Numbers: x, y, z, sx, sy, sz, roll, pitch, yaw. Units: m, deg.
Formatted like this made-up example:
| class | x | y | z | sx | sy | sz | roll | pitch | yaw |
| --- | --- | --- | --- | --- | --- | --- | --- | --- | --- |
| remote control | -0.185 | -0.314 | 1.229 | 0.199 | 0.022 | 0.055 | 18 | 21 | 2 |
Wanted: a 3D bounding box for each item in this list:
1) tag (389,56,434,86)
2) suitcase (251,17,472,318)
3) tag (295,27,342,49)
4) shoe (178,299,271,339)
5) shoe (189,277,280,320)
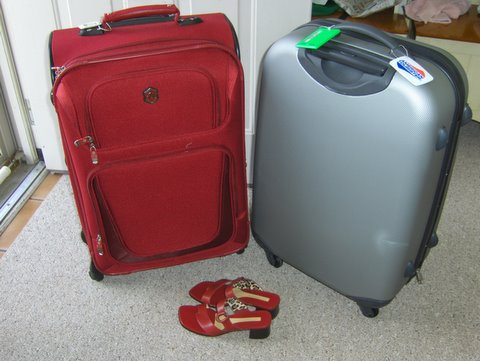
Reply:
| class | x | y | z | sx | sy | sz | roll | pitch | yaw |
| --- | --- | --- | --- | --- | --- | --- | --- | --- | --- |
| tag | 0.410 | -0.260 | 1.001 | 0.063 | 0.011 | 0.090 | -31 | 66 | -16 |
| suitcase | 0.317 | -0.004 | 1.209 | 0.645 | 0.920 | 0.310 | 28 | 43 | 34 |
| tag | 0.210 | -0.380 | 1.124 | 0.051 | 0.021 | 0.087 | 21 | 58 | 27 |
| shoe | -0.052 | 0.440 | 1.313 | 0.251 | 0.087 | 0.126 | 7 | 41 | 3 |
| shoe | -0.014 | 0.373 | 1.386 | 0.262 | 0.075 | 0.131 | 18 | 42 | 10 |
